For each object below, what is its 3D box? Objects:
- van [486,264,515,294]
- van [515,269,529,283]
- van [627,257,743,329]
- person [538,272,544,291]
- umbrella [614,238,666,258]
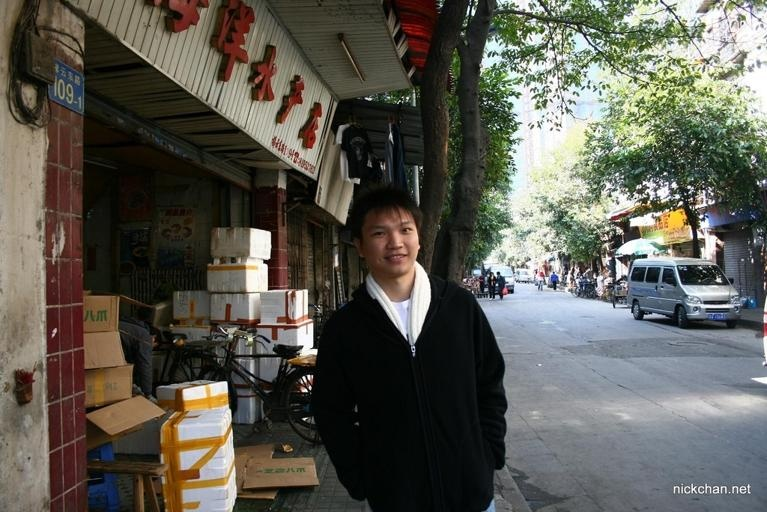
[{"bbox_3d":[9.657,1.690,44.039,1.932,1.948,3.980,-1,-7,0],"label":"van"},{"bbox_3d":[18.295,2.578,71.367,1.593,1.591,2.858,-2,-12,-4],"label":"van"},{"bbox_3d":[10.056,1.182,18.666,1.894,2.167,4.454,0,-2,0],"label":"van"},{"bbox_3d":[13.650,2.165,47.758,0.456,1.633,1.881,-4,-6,11],"label":"person"},{"bbox_3d":[12.389,-0.488,26.511,1.345,0.826,2.235,-4,-6,5],"label":"umbrella"}]
